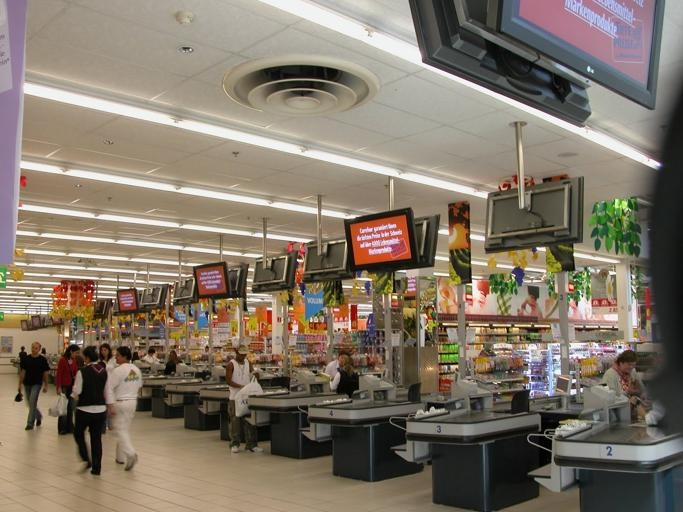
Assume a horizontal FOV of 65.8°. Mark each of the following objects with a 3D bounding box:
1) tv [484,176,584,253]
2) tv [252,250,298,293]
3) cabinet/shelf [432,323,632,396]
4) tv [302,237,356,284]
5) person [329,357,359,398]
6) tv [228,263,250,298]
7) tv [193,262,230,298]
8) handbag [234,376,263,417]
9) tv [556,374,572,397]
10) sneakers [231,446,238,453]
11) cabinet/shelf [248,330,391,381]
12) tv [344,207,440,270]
[{"bbox_3d":[2.636,-0.558,7.166,0.221,0.897,1.361,19,-21,-42],"label":"tv"},{"bbox_3d":[-1.467,0.391,11.913,1.186,0.750,0.364,-13,-24,43],"label":"tv"},{"bbox_3d":[3.987,2.246,11.299,2.635,1.327,3.611,-5,-10,39],"label":"cabinet/shelf"},{"bbox_3d":[-0.236,0.102,10.126,0.917,0.660,0.277,-12,-23,39],"label":"tv"},{"bbox_3d":[0.080,2.128,9.384,0.453,0.726,0.595,1,-10,-4],"label":"person"},{"bbox_3d":[-2.575,0.606,13.097,0.468,0.890,0.625,2,-10,-13],"label":"tv"},{"bbox_3d":[-3.221,0.630,13.185,1.176,0.853,0.291,-7,-12,33],"label":"tv"},{"bbox_3d":[-1.633,2.520,9.345,0.473,0.717,0.488,2,-10,-11],"label":"handbag"},{"bbox_3d":[3.003,1.751,7.116,0.192,0.238,0.338,-4,-11,20],"label":"tv"},{"bbox_3d":[-1.878,3.440,9.354,0.131,0.097,0.124,2,-10,-13],"label":"sneakers"},{"bbox_3d":[-0.561,2.932,15.382,2.256,0.985,3.115,-1,2,-29],"label":"cabinet/shelf"},{"bbox_3d":[0.811,-0.212,8.629,1.521,0.928,0.631,-8,-13,37],"label":"tv"}]
